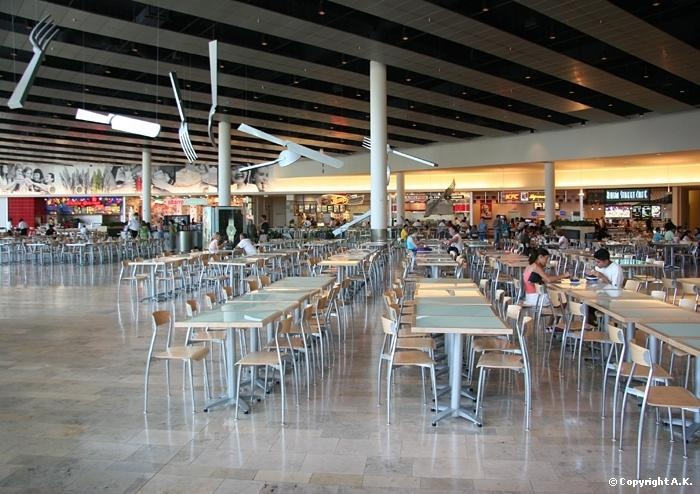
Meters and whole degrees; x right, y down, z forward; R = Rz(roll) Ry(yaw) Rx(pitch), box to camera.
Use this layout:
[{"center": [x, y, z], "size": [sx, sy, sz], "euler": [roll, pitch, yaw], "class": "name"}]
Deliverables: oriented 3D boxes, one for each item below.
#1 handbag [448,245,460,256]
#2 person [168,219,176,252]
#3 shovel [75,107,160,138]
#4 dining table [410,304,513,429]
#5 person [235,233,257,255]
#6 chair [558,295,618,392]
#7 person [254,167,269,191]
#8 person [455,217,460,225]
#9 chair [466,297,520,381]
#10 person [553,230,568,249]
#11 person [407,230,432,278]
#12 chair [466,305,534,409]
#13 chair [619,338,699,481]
[{"center": [3.262, 0.105, 17.114], "size": [0.320, 0.302, 0.826], "euler": [-3, -10, 12], "class": "handbag"}, {"center": [-8.105, -0.458, 24.588], "size": [0.339, 1.416, 1.028], "euler": [-5, 10, -18], "class": "person"}, {"center": [-4.501, -2.457, 10.635], "size": [1.442, 0.486, 1.536], "euler": [-2, 8, -12], "class": "shovel"}, {"center": [1.267, 1.047, 6.480], "size": [1.326, 1.308, 2.132], "euler": [0, 4, 2], "class": "dining table"}, {"center": [-2.831, -0.040, 14.606], "size": [0.429, 0.596, 1.436], "euler": [-3, 8, -13], "class": "person"}, {"center": [3.186, 1.270, 7.544], "size": [0.706, 0.821, 0.615], "euler": [7, 6, -18], "class": "chair"}, {"center": [-5.952, -4.533, 36.482], "size": [1.033, 1.523, 0.414], "euler": [2, 11, 19], "class": "person"}, {"center": [6.572, -1.711, 33.249], "size": [0.302, 0.340, 0.959], "euler": [0, 8, 9], "class": "person"}, {"center": [1.798, 1.252, 6.711], "size": [0.588, 0.584, 0.584], "euler": [-10, -11, 25], "class": "chair"}, {"center": [6.573, -0.219, 16.771], "size": [0.323, 0.540, 0.893], "euler": [2, 9, 19], "class": "person"}, {"center": [1.894, 0.243, 15.382], "size": [0.692, 1.360, 0.508], "euler": [2, 0, -9], "class": "person"}, {"center": [1.806, 1.380, 6.580], "size": [1.071, 1.241, 1.298], "euler": [0, 1, 6], "class": "chair"}, {"center": [3.247, 1.511, 5.644], "size": [0.729, 1.118, 1.850], "euler": [4, 9, 26], "class": "chair"}]
